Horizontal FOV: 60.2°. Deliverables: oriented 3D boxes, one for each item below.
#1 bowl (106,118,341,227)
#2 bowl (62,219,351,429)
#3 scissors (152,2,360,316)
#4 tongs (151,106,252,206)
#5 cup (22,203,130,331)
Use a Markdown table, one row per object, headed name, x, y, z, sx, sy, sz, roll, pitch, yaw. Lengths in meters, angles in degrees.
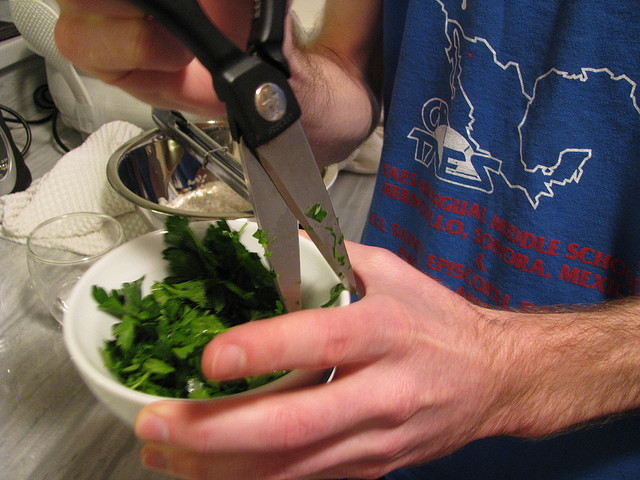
| name | x | y | z | sx | sy | sz | roll | pitch | yaw |
| --- | --- | --- | --- | --- | --- | --- | --- | --- | --- |
| bowl | -0.238 | -0.141 | 1.044 | 0.284 | 0.098 | 0.277 | 3 | 39 | -2 |
| bowl | -0.142 | 0.151 | 0.682 | 0.269 | 0.138 | 0.267 | 2 | 39 | -2 |
| scissors | -0.056 | -0.080 | 0.678 | 0.133 | 0.435 | 0.076 | -29 | 24 | -13 |
| tongs | -0.214 | -0.140 | 0.961 | 0.253 | 0.055 | 0.061 | 41 | 44 | 1 |
| cup | -0.359 | 0.043 | 0.805 | 0.136 | 0.142 | 0.125 | 5 | 42 | -5 |
